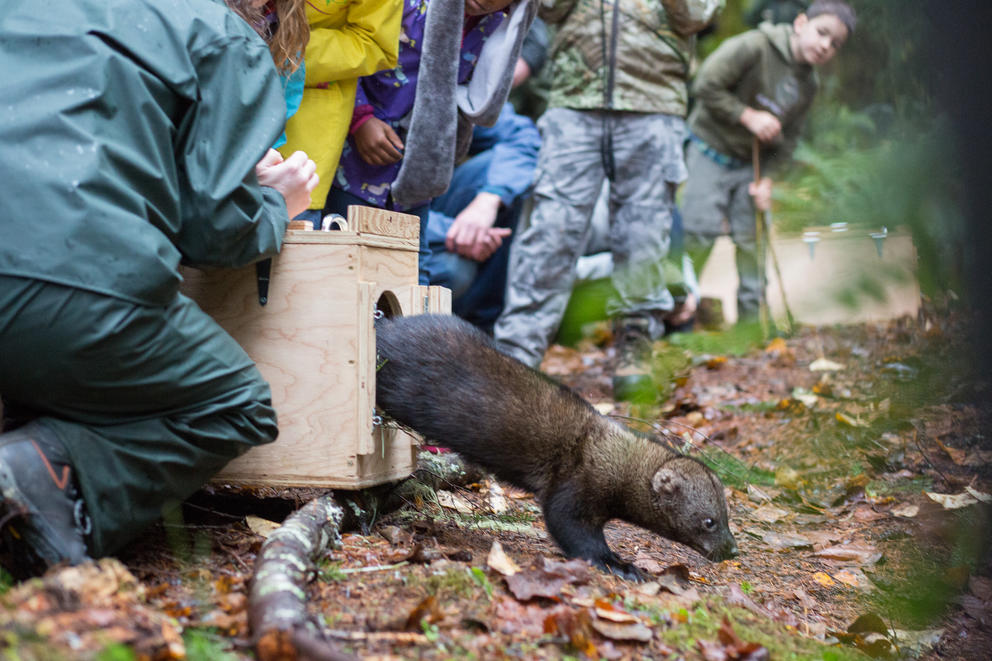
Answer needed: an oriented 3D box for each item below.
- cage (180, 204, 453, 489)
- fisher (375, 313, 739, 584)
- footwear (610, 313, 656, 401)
[{"bbox_3d":[-0.748,0.026,5.569,1.239,1.623,1.136,1,4,10],"label":"cage"},{"bbox_3d":[0.236,0.620,5.361,2.003,0.796,0.790,18,40,10],"label":"fisher"},{"bbox_3d":[0.975,0.163,7.270,0.289,0.570,0.267,12,21,37],"label":"footwear"}]
